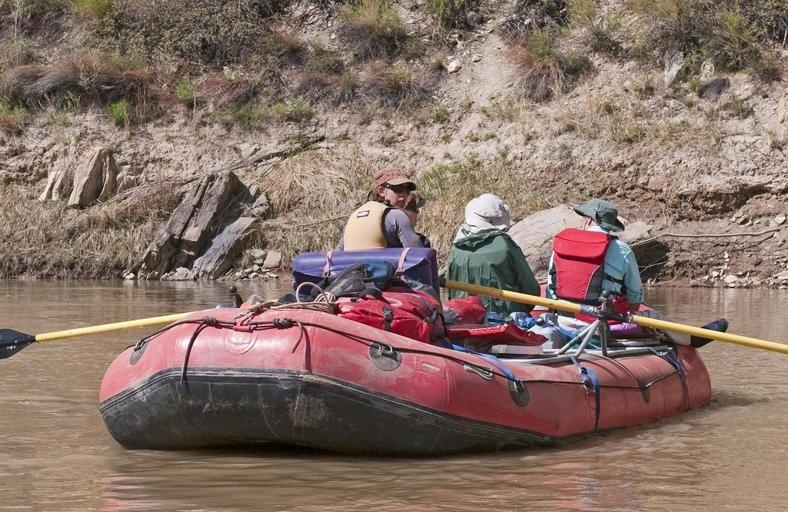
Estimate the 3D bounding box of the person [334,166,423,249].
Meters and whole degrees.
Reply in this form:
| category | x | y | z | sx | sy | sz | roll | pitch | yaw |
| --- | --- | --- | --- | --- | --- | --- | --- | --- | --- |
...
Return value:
| category | x | y | z | sx | sy | sz | roll | pitch | yaw |
| --- | --- | --- | --- | --- | --- | --- | --- | --- | --- |
| person | -0.223 | -0.787 | 22.988 | 1.356 | 1.193 | 0.874 | 1 | -1 | -4 |

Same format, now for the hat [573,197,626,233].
| category | x | y | z | sx | sy | sz | roll | pitch | yaw |
| --- | --- | --- | --- | --- | --- | --- | --- | --- | --- |
| hat | 3.671 | -0.609 | 23.768 | 0.762 | 0.251 | 0.618 | 19 | 13 | -25 |
